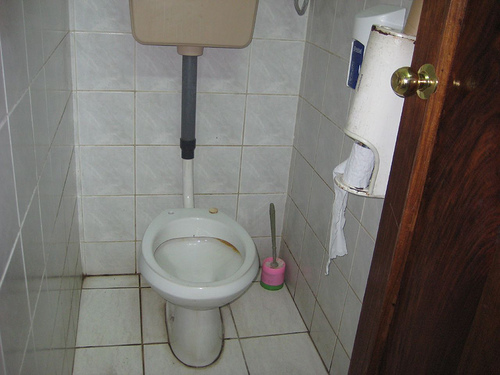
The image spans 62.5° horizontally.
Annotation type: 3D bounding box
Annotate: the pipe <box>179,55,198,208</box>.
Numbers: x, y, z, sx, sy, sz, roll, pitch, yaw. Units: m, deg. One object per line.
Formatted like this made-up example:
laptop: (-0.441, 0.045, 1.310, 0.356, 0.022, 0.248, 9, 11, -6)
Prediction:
pipe: (-0.274, -0.246, 1.878, 0.090, 0.663, 0.133, -1, 31, -9)

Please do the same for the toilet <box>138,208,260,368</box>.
toilet: (-0.209, 0.441, 1.806, 0.481, 0.575, 0.517, -8, 17, -12)
